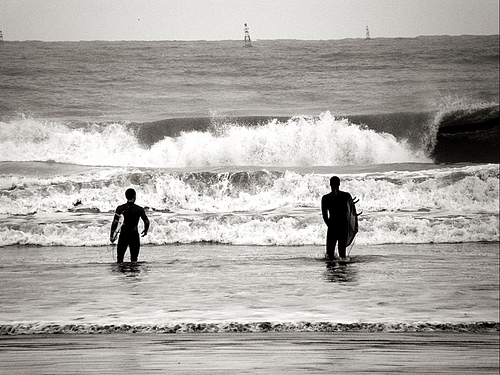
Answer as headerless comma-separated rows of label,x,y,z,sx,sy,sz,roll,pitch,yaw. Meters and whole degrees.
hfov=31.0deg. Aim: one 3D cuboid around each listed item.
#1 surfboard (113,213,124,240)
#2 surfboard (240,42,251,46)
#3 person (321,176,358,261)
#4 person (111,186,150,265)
surfboard,-3.113,0.919,21.422,0.169,0.734,0.101,28,13,28
surfboard,-0.090,-5.489,34.475,0.218,0.160,0.548,-5,14,-21
person,2.098,0.759,21.317,0.837,2.086,0.625,4,14,16
person,-2.806,0.925,21.174,0.868,1.811,0.549,-2,13,-7
